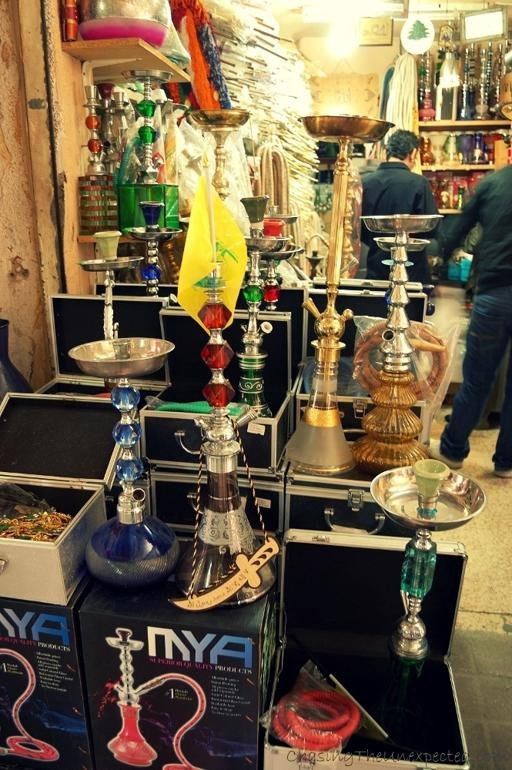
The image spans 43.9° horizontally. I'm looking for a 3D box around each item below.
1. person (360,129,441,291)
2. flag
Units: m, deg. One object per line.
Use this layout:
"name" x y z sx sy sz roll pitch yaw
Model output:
"person" 0.800 -0.941 3.560 0.329 0.871 0.244 15 52 23
"flag" -0.073 -0.227 1.122 0.116 0.254 0.164 5 14 -3
